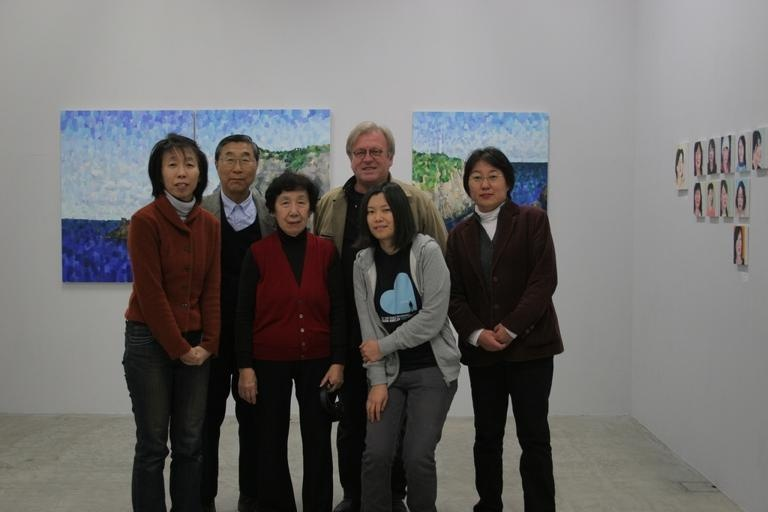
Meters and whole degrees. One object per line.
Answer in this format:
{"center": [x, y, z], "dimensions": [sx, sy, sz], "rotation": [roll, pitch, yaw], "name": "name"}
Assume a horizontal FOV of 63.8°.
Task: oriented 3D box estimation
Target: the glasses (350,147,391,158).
{"center": [-0.115, -0.810, 4.845], "dimensions": [0.300, 0.113, 0.141], "rotation": [-1, 7, -7], "name": "glasses"}
